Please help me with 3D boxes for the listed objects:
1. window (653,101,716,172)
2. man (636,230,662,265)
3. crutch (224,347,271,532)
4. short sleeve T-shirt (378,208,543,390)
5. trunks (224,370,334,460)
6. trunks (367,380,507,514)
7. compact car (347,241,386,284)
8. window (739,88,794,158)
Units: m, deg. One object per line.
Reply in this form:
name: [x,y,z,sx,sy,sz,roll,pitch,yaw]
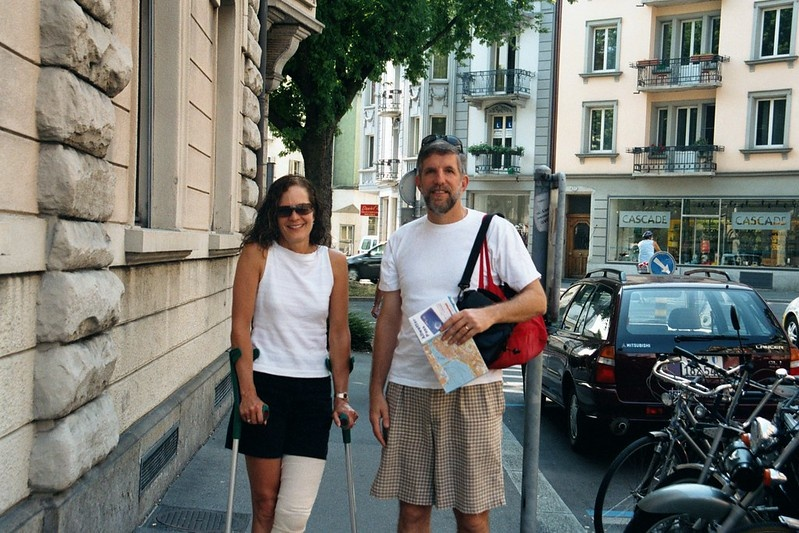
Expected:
window: [12.611,-5.709,31.393,2.889,3.756,0.309,-1,-14,28]
man: [6.850,-0.460,19.711,0.532,1.045,0.513,-2,11,-13]
crutch: [-0.940,1.057,4.284,0.051,1.198,0.347,1,4,13]
short sleeve T-shirt: [0.291,0.185,4.381,1.071,1.086,0.419,1,0,24]
trunks: [-0.759,0.923,4.529,0.738,0.760,0.480,6,-13,-14]
trunks: [0.277,1.047,4.547,0.992,1.084,0.685,1,-11,10]
compact car: [-1.361,-0.174,28.674,2.327,1.386,1.415,3,-3,0]
window: [15.294,-6.038,29.615,2.616,3.815,0.487,2,0,34]
